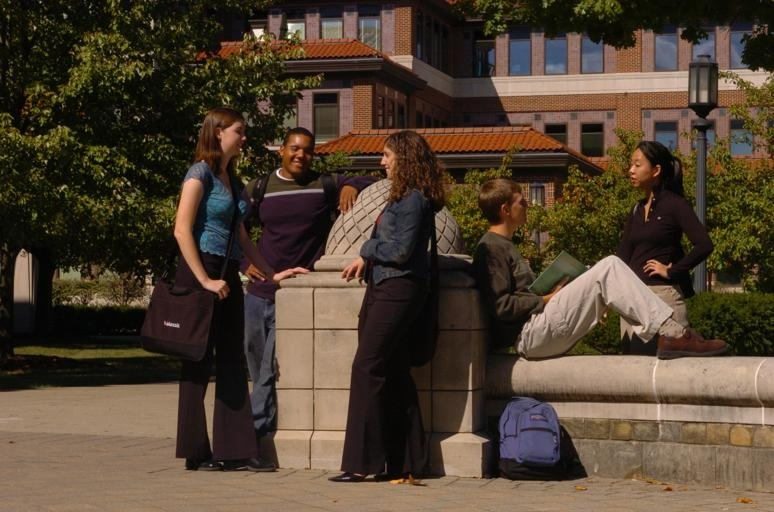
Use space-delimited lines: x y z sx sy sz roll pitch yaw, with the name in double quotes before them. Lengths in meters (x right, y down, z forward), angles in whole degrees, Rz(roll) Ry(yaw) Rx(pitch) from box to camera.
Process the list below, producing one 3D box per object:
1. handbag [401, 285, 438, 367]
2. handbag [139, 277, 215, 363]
"handbag" 0.568 1.193 28.044 0.528 1.291 0.565 -1 0 -1
"handbag" -3.536 1.081 27.877 1.242 1.408 0.306 0 -1 -6
